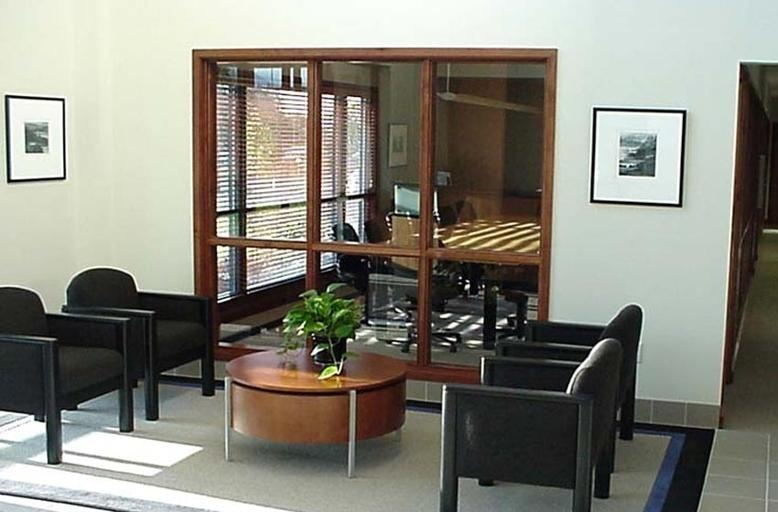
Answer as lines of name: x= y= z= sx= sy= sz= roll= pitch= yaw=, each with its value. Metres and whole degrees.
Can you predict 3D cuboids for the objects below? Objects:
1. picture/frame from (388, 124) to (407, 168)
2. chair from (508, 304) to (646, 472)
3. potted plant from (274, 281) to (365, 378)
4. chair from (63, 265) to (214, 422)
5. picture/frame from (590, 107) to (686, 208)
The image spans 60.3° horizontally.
picture/frame: x=0.080 y=-1.128 z=6.781 sx=0.220 sy=0.427 sz=0.031 roll=-8 pitch=25 yaw=-20
chair: x=1.601 y=0.917 z=5.584 sx=1.167 sy=1.273 sz=0.977 roll=1 pitch=3 yaw=20
potted plant: x=-0.580 y=0.604 z=5.642 sx=0.648 sy=0.631 sz=0.682 roll=-1 pitch=1 yaw=40
chair: x=-2.396 y=0.787 z=7.209 sx=1.545 sy=1.748 sz=1.410 roll=1 pitch=4 yaw=26
picture/frame: x=2.339 y=-0.950 z=6.201 sx=0.988 sy=0.961 sz=0.042 roll=2 pitch=5 yaw=12
